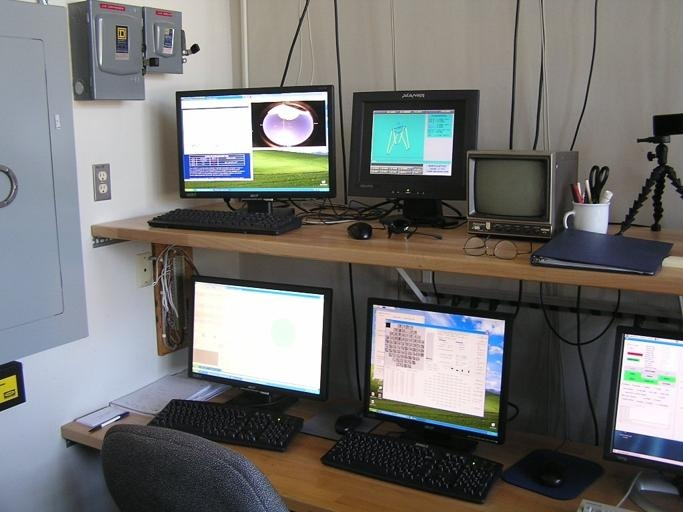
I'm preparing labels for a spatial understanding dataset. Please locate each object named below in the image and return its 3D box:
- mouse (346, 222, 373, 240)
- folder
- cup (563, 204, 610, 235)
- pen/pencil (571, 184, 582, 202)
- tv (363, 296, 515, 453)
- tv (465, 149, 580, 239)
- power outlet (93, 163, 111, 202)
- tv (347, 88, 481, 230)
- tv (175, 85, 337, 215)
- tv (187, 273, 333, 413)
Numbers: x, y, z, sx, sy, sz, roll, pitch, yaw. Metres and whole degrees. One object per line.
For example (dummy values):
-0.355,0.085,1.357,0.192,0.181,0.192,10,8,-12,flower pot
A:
0.051,-0.090,1.788,0.056,0.039,0.062,2,14,5,mouse
0.710,-0.019,1.534,0.316,0.049,0.329,11,20,30,folder
0.736,-0.115,1.706,0.130,0.092,0.085,-2,5,27,cup
0.714,-0.203,1.730,0.020,0.027,0.097,-8,37,19,pen/pencil
0.310,0.400,1.871,0.445,0.428,0.135,4,5,25,tv
0.512,-0.166,1.850,0.288,0.278,0.312,2,-6,6,tv
-0.880,-0.269,2.059,0.018,0.135,0.081,9,18,28,power outlet
0.241,-0.330,2.036,0.436,0.489,0.247,3,-5,7,tv
-0.312,-0.392,2.048,0.504,0.337,0.045,1,7,5,tv
-0.313,0.330,2.097,0.460,0.341,0.069,4,3,20,tv
